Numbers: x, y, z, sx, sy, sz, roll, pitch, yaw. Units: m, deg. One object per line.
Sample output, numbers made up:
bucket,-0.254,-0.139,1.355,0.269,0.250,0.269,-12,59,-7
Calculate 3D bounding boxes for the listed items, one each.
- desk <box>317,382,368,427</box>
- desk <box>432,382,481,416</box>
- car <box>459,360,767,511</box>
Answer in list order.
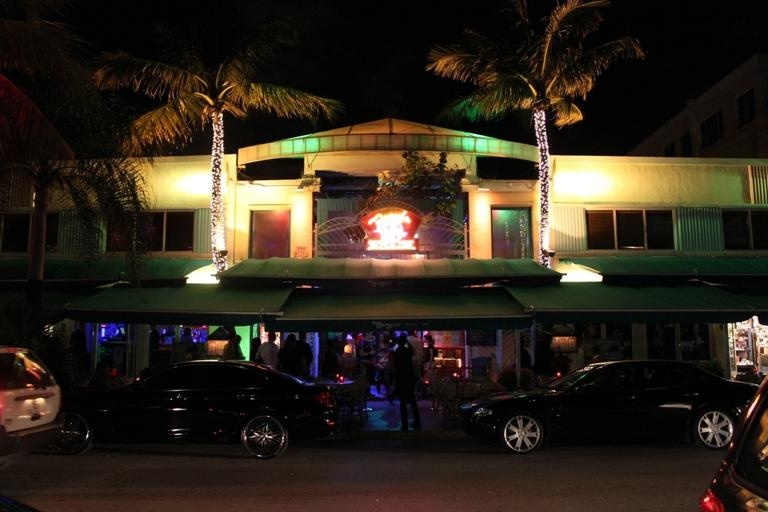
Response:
desk,-1.019,4.033,20.137,0.854,1.007,0.874,-20,6,-15
desk,2.076,4.052,21.050,1.732,0.981,1.146,-3,-4,12
car,5.506,4.063,18.300,7.208,1.938,2.837,1,-12,1
